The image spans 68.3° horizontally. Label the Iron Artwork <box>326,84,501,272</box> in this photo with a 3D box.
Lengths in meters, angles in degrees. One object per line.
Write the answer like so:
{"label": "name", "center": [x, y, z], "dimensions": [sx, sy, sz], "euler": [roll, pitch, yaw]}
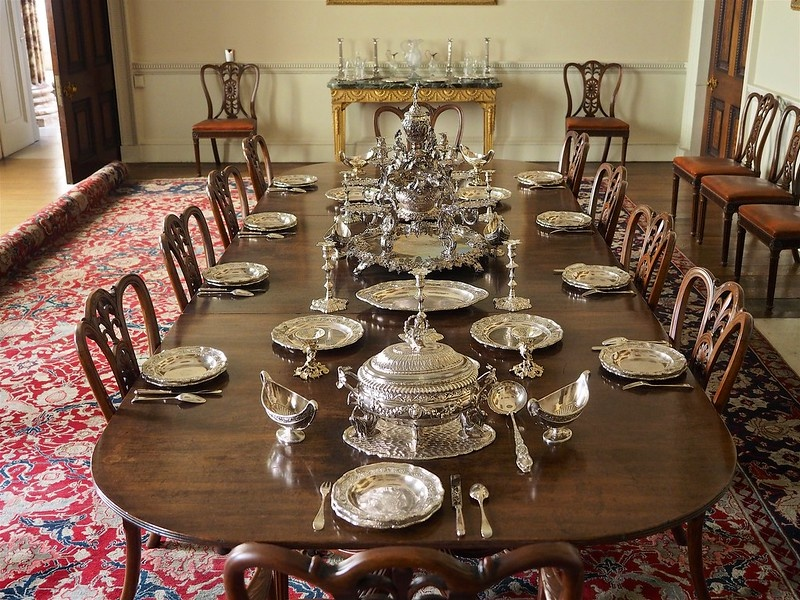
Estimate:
{"label": "Iron Artwork", "center": [0.101, -0.512, 2.768], "dimensions": [0.915, 0.723, 0.813], "euler": [2, 13, 17]}
